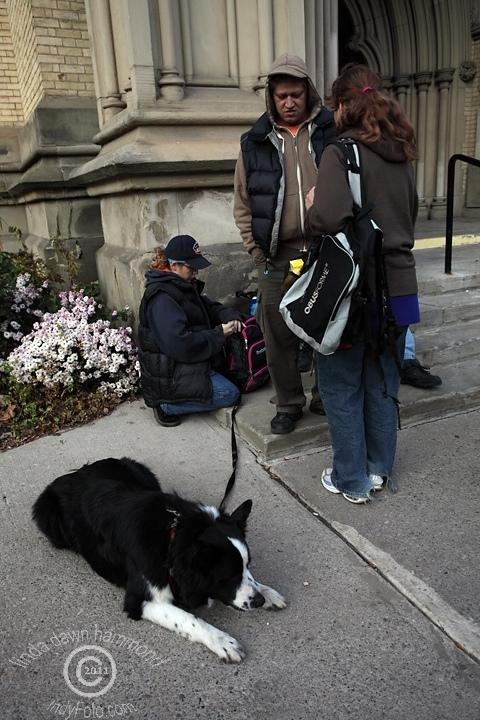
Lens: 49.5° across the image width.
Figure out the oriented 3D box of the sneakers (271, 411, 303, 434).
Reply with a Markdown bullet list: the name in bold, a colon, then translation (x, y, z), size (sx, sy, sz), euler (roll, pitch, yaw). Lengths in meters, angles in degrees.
- **sneakers**: translation (0.261, 0.349, 2.960), size (0.079, 0.086, 0.202), euler (5, 11, 23)

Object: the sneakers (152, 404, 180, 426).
- **sneakers**: translation (-0.500, 0.367, 3.518), size (0.078, 0.090, 0.209), euler (-11, 19, -39)

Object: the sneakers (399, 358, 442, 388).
- **sneakers**: translation (1.161, 0.092, 3.370), size (0.103, 0.128, 0.276), euler (-20, 26, -36)

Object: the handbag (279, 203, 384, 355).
- **handbag**: translation (0.370, -0.297, 1.980), size (0.278, 0.515, 0.345), euler (-3, 32, -19)

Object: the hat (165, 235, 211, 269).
- **hat**: translation (-0.344, -0.693, 3.423), size (0.281, 0.159, 0.191), euler (18, 34, -3)

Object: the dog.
- **dog**: translation (-0.319, 0.632, 1.907), size (1.039, 0.404, 0.504), euler (19, 26, 34)
